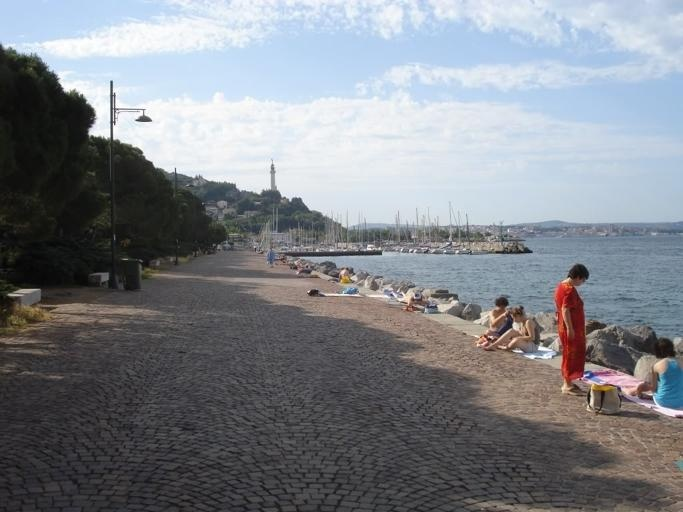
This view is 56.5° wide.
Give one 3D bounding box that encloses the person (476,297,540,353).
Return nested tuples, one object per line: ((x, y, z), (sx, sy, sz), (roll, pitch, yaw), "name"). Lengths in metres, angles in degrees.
((4.121, 1.718, 14.902), (1.469, 0.965, 0.960), (2, -2, -8), "person")

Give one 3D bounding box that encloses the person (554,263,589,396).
((3.995, 1.214, 11.025), (0.537, 2.253, 1.244), (4, 6, 21), "person")

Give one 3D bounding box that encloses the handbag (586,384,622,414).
((4.127, 2.207, 10.019), (0.572, 0.332, 0.430), (1, 7, -1), "handbag")
